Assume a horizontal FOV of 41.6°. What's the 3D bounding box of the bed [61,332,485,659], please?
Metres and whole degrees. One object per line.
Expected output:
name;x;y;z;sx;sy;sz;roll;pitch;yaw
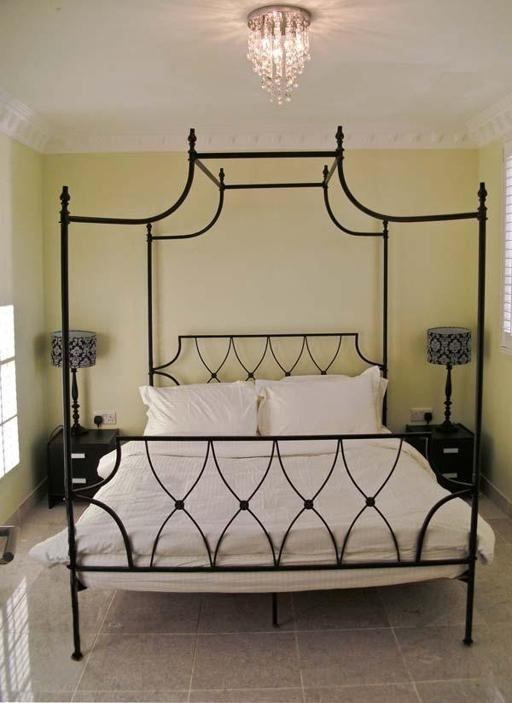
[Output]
bed;0.054;0.362;2.971;1.496;1.080;1.562;-1;11;-3

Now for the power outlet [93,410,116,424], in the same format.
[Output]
power outlet;-0.874;0.390;3.921;0.122;0.098;0.069;1;7;-7

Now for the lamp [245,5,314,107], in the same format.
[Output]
lamp;0.108;-1.117;2.481;0.202;0.287;0.196;-8;16;-29
